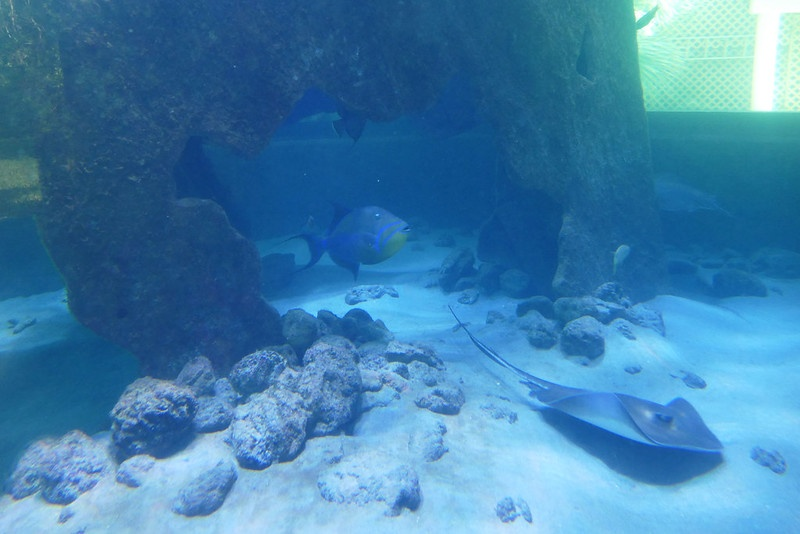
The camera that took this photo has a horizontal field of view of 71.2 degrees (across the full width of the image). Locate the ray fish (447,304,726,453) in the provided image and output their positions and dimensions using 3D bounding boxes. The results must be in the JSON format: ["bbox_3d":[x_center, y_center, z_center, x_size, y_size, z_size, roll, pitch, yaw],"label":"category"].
[{"bbox_3d":[2.411,1.462,6.294,1.502,0.690,2.241,-10,17,-34],"label":"ray fish"}]

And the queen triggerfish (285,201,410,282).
[{"bbox_3d":[-0.542,-0.354,6.582,1.252,0.978,0.357,-14,6,5],"label":"queen triggerfish"}]
